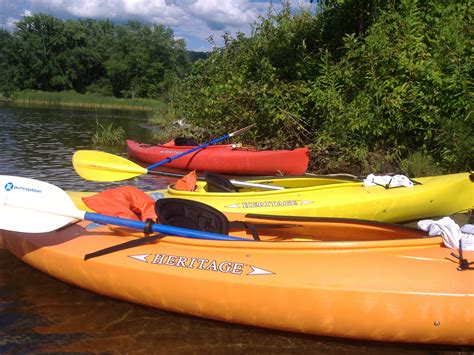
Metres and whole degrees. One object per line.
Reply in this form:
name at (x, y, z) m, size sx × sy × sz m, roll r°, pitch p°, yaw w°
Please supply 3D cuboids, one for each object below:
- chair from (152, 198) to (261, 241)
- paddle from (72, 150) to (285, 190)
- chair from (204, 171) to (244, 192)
chair at (-0.247, 0.416, 5.570) m, size 1.115 × 0.338 × 0.814 m, roll 8°, pitch 8°, yaw 26°
paddle at (-0.897, -0.125, 8.331) m, size 4.322 × 0.579 × 0.284 m, roll 6°, pitch -14°, yaw 6°
chair at (-0.212, 0.058, 6.645) m, size 0.394 × 0.143 × 0.266 m, roll -4°, pitch 41°, yaw -26°
